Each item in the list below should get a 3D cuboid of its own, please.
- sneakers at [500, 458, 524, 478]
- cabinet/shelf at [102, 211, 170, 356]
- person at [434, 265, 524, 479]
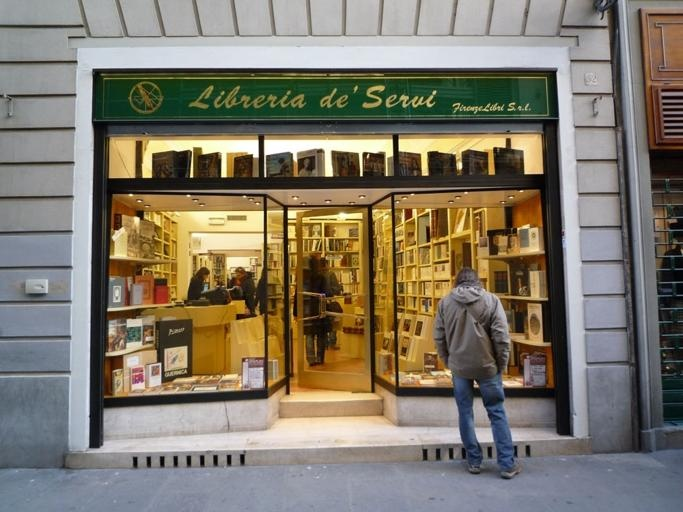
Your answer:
[{"bbox_3d":[1.724,2.124,6.451,0.095,0.115,0.270,-2,-1,38],"label":"sneakers"},{"bbox_3d":[-2.467,0.388,7.666,0.289,1.417,0.917,-7,-26,39],"label":"cabinet/shelf"},{"bbox_3d":[1.352,1.157,6.509,0.775,2.089,0.298,-3,-4,12],"label":"person"}]
